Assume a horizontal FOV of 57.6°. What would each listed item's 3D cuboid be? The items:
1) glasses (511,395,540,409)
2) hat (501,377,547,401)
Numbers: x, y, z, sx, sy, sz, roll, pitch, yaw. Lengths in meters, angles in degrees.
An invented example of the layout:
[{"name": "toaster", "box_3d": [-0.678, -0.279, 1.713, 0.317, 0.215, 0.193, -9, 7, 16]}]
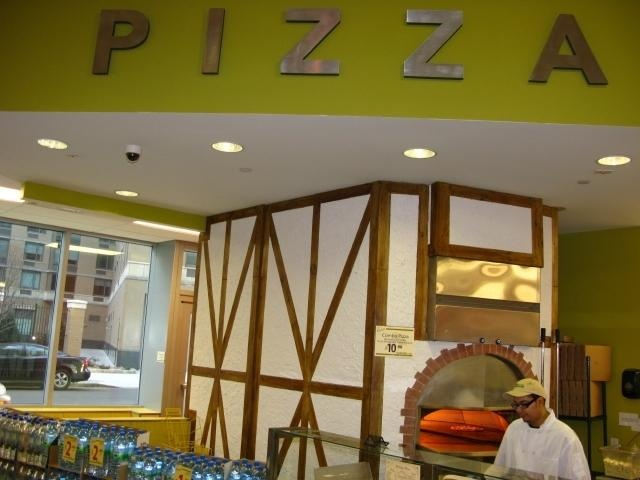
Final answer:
[{"name": "glasses", "box_3d": [1.676, 1.339, 4.770, 0.140, 0.045, 0.138, 6, -11, -37]}, {"name": "hat", "box_3d": [1.688, 1.256, 4.840, 0.368, 0.217, 0.267, 5, -19, 7]}]
